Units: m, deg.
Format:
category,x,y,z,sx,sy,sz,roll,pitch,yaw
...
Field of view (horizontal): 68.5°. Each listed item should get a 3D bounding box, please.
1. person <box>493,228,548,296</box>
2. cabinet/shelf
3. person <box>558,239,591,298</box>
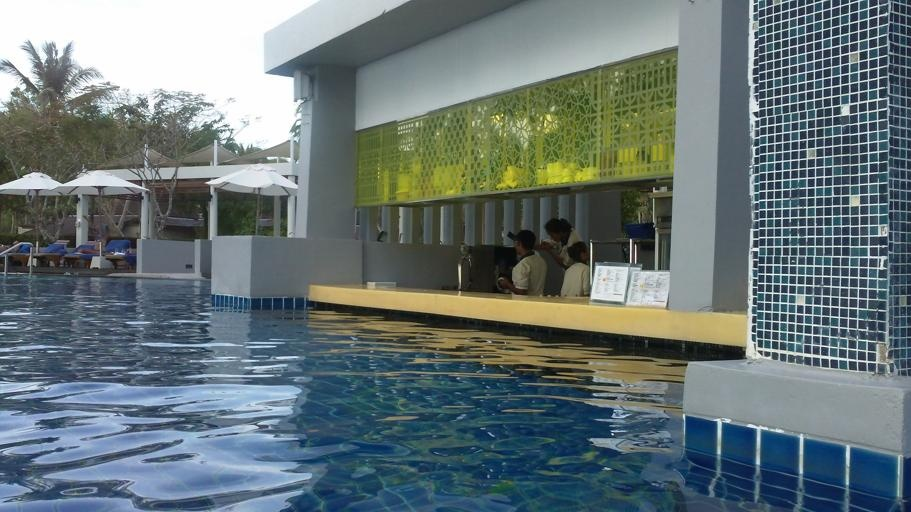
category,x,y,z,sx,sy,sz,roll,pitch,yaw
person,1.058,0.092,10.114,0.621,0.961,0.356,-3,5,-43
cabinet/shelf,2.693,-0.455,10.243,1.058,1.214,3.285,2,4,14
person,1.771,0.184,9.815,0.380,0.789,0.941,1,4,9
